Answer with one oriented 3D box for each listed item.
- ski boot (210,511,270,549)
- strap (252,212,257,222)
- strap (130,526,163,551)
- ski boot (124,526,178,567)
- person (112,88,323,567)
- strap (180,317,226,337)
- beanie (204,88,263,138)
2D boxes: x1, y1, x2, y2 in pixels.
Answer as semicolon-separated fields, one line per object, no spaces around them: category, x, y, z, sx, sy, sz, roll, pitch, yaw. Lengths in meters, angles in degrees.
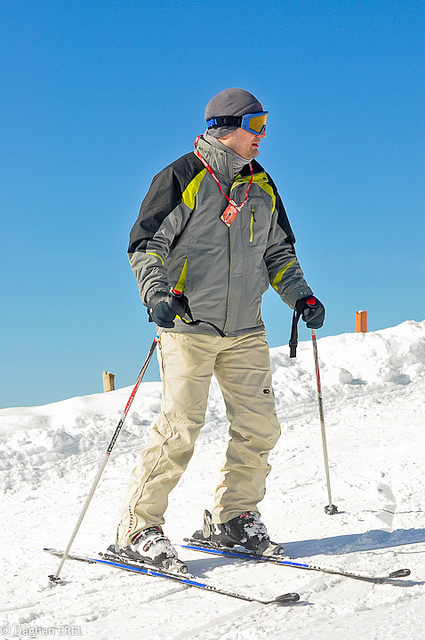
ski boot;0.150;1.146;3.348;0.343;0.172;0.153;-7;-6;43
strap;0.216;-0.548;3.220;0.013;0.038;0.025;-16;29;0
strap;-0.338;1.074;3.054;0.144;0.051;0.108;-41;-44;9
ski boot;-0.296;1.107;3.002;0.118;0.156;0.326;0;-5;-43
person;0.039;0.030;3.273;1.114;2.511;0.615;0;-5;-40
strap;-0.041;0.042;3.126;0.233;0.098;0.067;-1;-5;-31
beanie;0.115;-1.140;3.312;0.339;0.245;0.328;-8;13;-30
